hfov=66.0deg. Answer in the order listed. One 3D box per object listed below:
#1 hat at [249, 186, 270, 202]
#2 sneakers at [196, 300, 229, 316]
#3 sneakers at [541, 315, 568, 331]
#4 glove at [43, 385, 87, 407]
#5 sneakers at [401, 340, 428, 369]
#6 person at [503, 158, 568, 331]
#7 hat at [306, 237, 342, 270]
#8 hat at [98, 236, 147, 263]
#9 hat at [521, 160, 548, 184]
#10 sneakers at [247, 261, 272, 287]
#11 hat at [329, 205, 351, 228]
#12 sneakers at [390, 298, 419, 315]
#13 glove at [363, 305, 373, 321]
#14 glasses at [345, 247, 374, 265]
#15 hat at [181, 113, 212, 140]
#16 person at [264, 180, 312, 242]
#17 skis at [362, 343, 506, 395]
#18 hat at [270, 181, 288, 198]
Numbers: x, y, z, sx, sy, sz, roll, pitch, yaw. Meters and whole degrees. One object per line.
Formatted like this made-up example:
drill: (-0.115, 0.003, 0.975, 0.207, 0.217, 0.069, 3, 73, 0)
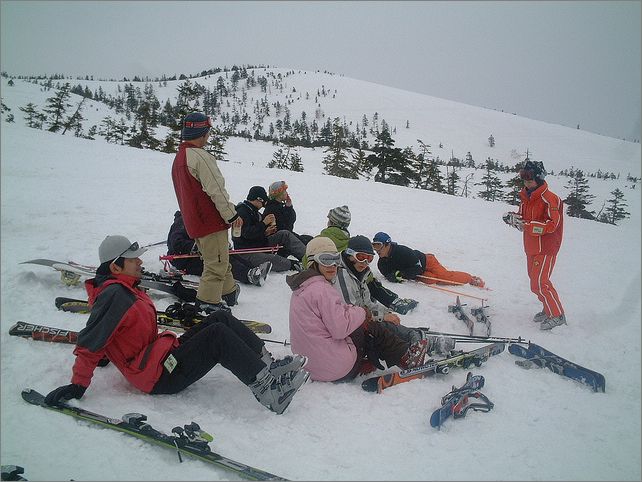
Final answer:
hat: (-1.092, -0.828, 8.487, 0.202, 0.181, 0.309, 12, 12, 43)
sneakers: (-1.395, 0.836, 6.196, 0.480, 0.209, 0.165, 4, 10, -8)
sneakers: (3.372, 1.165, 7.237, 0.474, 0.220, 0.170, -7, 6, -12)
glove: (-2.614, 1.553, 5.001, 0.179, 0.114, 0.289, 27, 49, 33)
sneakers: (1.096, 1.349, 5.810, 0.205, 0.172, 0.472, 6, 9, 14)
person: (3.340, 0.007, 7.485, 1.019, 2.447, 0.923, 11, 9, 27)
hat: (0.016, 0.131, 5.610, 0.366, 0.308, 0.292, 2, 6, 22)
hat: (-2.117, 0.073, 5.258, 0.395, 0.214, 0.264, -15, 15, -13)
hat: (3.113, -1.054, 7.365, 0.350, 0.344, 0.321, 9, 13, -7)
sneakers: (-0.983, 0.496, 7.776, 0.270, 0.584, 0.196, 4, 46, -16)
hat: (0.284, -0.427, 7.818, 0.280, 0.338, 0.373, 28, 25, 6)
sneakers: (1.293, 0.949, 7.446, 0.478, 0.220, 0.163, -12, 8, -20)
glove: (0.576, 0.867, 5.896, 0.054, 0.156, 0.109, -38, 35, -10)
glasses: (0.478, 0.183, 6.181, 0.238, 0.099, 0.193, 20, -4, 41)
hat: (-1.592, -1.479, 6.308, 0.364, 0.381, 0.307, 4, 9, -16)
person: (-0.754, -0.752, 9.349, 1.066, 1.448, 0.856, -5, 21, -7)
skis: (1.267, 1.526, 5.824, 1.880, 0.231, 0.254, -11, 3, -26)
hat: (-0.812, -0.916, 8.884, 0.318, 0.186, 0.246, -18, 24, 15)
